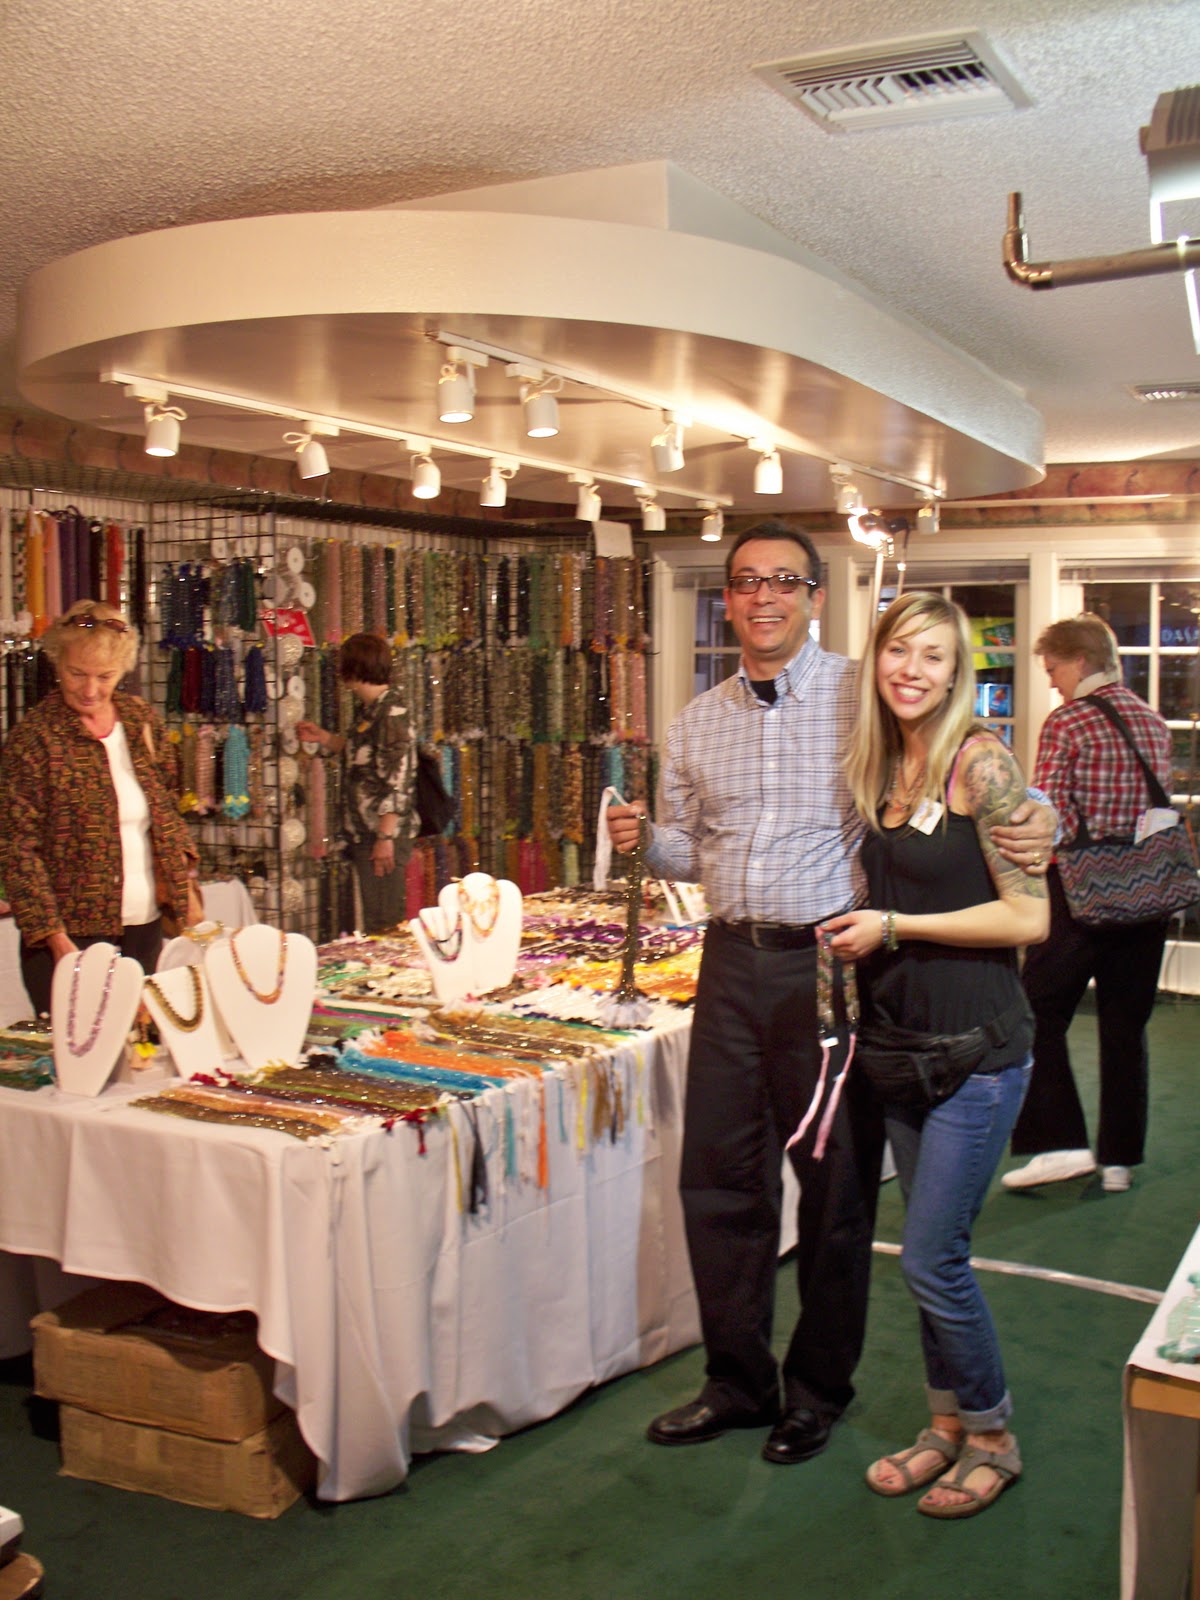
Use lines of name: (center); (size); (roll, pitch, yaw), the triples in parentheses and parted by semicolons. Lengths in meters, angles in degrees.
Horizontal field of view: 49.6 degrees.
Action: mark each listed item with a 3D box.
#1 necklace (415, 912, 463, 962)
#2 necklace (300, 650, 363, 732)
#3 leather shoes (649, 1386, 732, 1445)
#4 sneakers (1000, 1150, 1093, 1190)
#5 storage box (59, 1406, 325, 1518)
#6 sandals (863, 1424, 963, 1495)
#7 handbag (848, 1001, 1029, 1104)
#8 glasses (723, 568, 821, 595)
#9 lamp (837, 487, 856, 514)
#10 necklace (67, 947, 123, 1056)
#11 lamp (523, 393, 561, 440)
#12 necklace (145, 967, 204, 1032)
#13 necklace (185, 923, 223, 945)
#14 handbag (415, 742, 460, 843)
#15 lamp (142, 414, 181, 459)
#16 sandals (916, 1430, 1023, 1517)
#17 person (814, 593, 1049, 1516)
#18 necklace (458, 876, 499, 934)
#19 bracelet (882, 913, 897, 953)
necklace: (-0.418, 0.357, 3.340); (0.138, 0.119, 0.047); (-2, -10, -33)
necklace: (-1.306, -0.501, 6.212); (0.105, 0.383, 0.390); (-4, -7, 24)
leather shoes: (0.184, 1.247, 2.641); (0.196, 0.073, 0.073); (7, -6, -33)
sneakers: (1.509, 1.247, 4.441); (0.370, 0.140, 0.124); (-2, -12, -21)
storage box: (-0.784, 1.195, 2.384); (0.491, 0.158, 0.173); (0, -1, 15)
sandals: (0.578, 1.231, 2.430); (0.080, 0.082, 0.227); (-4, -15, 44)
handbag: (0.607, 0.425, 2.242); (0.221, 0.092, 0.175); (-2, 0, -13)
glasses: (0.328, -0.410, 2.477); (0.144, 0.045, 0.076); (1, -1, -1)
lamp: (1.049, -1.285, 5.556); (0.084, 0.096, 0.103); (0, 0, 6)
necklace: (-0.989, 0.395, 2.530); (0.155, 0.197, 0.032); (2, -8, 24)
lamp: (-0.154, -0.981, 3.305); (0.078, 0.098, 0.182); (1, -1, -4)
necklace: (-0.855, 0.404, 2.615); (0.045, 0.113, 0.136); (0, 4, 40)
necklace: (-0.952, 0.322, 3.116); (0.067, 0.041, 0.114); (-1, 2, -37)
handbag: (-0.731, -0.007, 5.605); (0.152, 0.367, 0.278); (-2, 7, -6)
lamp: (-1.140, -0.961, 3.377); (0.077, 0.125, 0.162); (1, -1, -22)
sandals: (0.666, 1.210, 2.342); (0.093, 0.090, 0.232); (-13, -17, 36)
person: (0.580, 0.459, 2.298); (0.377, 1.618, 0.418); (0, -2, 13)
necklace: (-0.327, 0.282, 3.453); (0.119, 0.141, 0.042); (1, -12, -32)
bracelet: (0.494, 0.229, 2.223); (0.035, 0.071, 0.124); (0, -1, 12)
